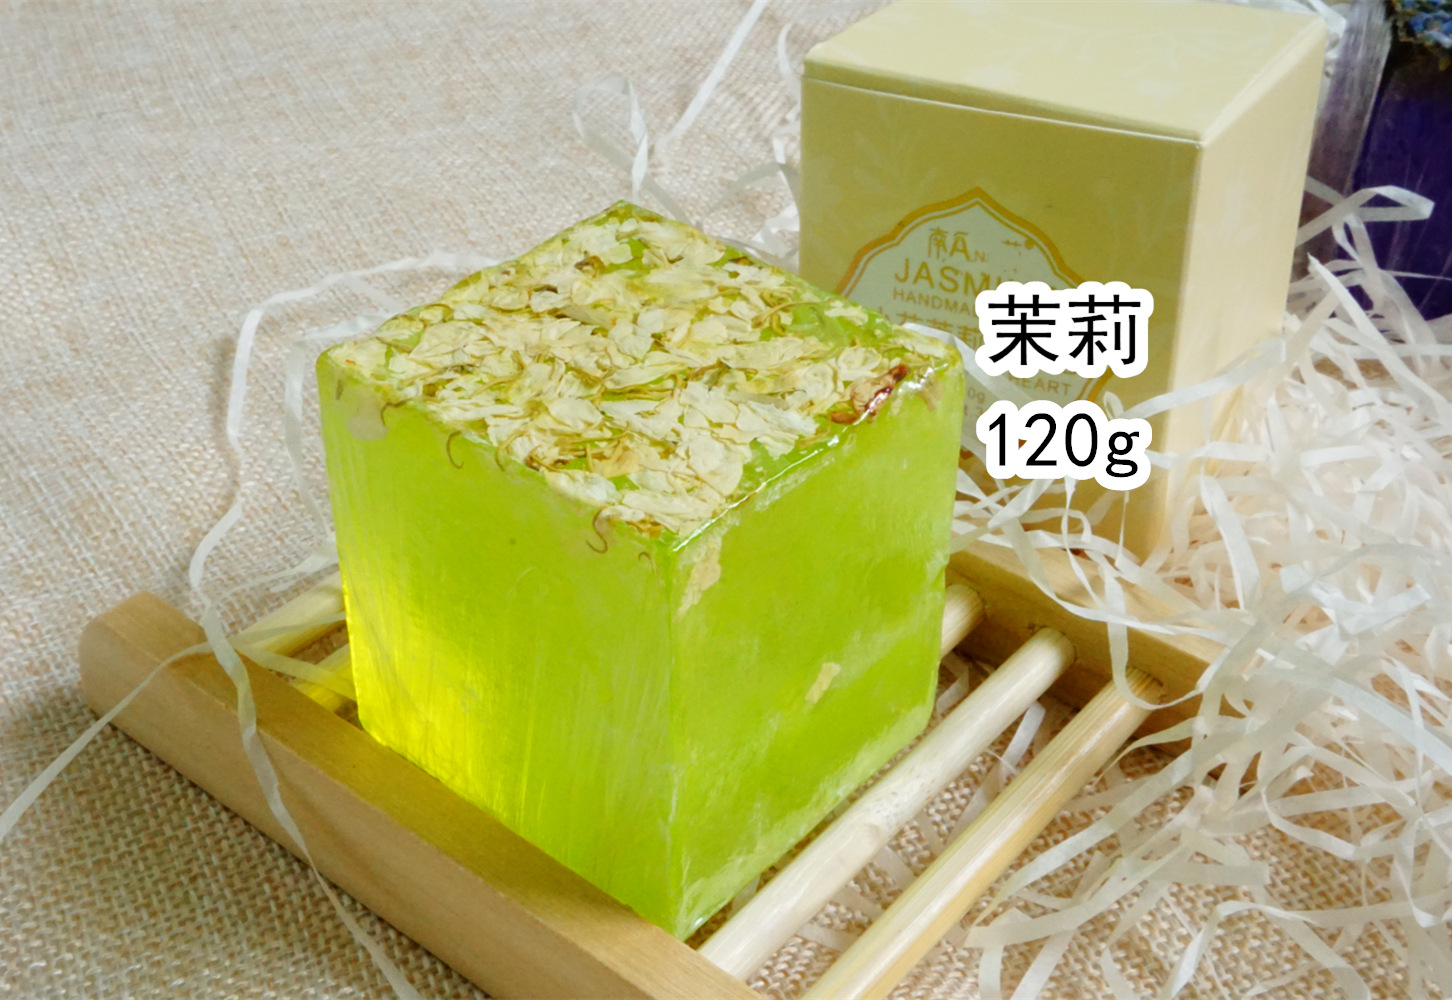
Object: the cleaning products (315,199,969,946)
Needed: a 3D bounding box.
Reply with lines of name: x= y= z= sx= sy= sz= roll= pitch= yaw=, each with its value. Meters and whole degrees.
cleaning products: x=-0.046 y=0.019 z=0.689 sx=0.338 sy=0.284 sz=0.330 roll=29 pitch=45 yaw=30
